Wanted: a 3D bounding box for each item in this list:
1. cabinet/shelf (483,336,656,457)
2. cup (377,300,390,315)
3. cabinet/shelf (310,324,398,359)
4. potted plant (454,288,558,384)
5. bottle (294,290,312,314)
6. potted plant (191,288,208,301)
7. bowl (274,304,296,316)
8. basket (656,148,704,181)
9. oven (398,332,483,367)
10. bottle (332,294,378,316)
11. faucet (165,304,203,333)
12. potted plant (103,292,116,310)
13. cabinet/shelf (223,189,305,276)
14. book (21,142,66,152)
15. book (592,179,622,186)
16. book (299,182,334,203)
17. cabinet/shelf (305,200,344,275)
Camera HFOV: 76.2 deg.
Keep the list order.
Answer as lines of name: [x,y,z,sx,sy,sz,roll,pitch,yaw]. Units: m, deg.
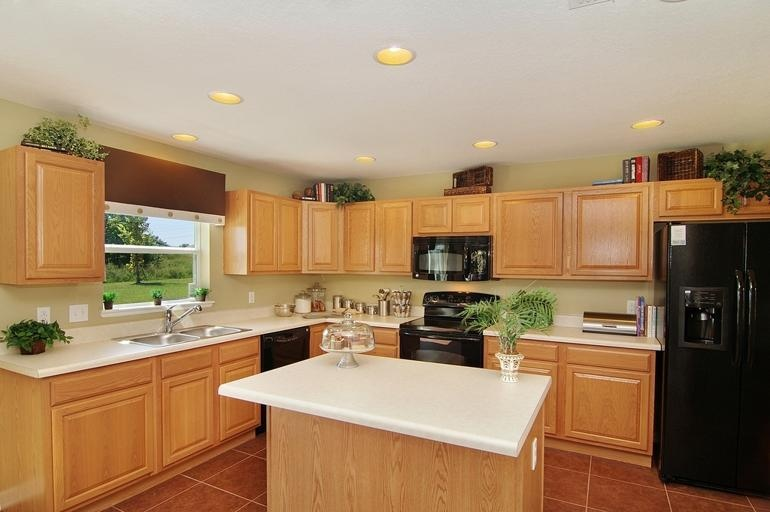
cabinet/shelf: [1.576,1.135,3.960,1.637,0.855,0.522,-2,-6,25]
cup: [-0.013,0.610,5.857,0.194,0.161,0.173,1,0,21]
cabinet/shelf: [-0.319,0.909,5.328,0.962,0.340,0.247,0,7,7]
potted plant: [0.848,0.523,3.321,0.547,0.614,0.281,1,7,12]
bottle: [-0.968,0.559,5.918,0.290,0.239,0.263,0,1,10]
potted plant: [-1.881,0.390,4.969,0.164,0.121,0.130,2,7,19]
bowl: [-1.171,0.607,5.668,0.212,0.151,0.310,-1,5,-9]
basket: [2.663,-0.801,4.544,0.414,0.280,0.358,1,0,12]
oven: [0.508,1.065,5.081,0.893,0.423,0.488,3,-34,-4]
bottle: [-0.397,0.594,6.003,0.720,0.182,0.394,1,6,19]
faucet: [-1.888,0.574,4.676,0.187,0.241,0.418,3,7,29]
potted plant: [-2.414,0.391,4.285,0.081,0.137,0.105,-3,7,-18]
cabinet/shelf: [-1.332,-0.239,5.253,0.451,0.936,1.225,1,-1,39]
book: [-2.556,-0.809,3.648,0.151,0.024,0.144,0,-1,30]
book: [2.174,-0.717,4.810,0.263,0.084,0.360,2,5,20]
book: [-0.766,-0.717,5.891,0.413,0.299,0.263,2,-1,19]
cabinet/shelf: [-0.713,-0.218,5.768,0.471,0.813,0.128,-2,8,-13]
